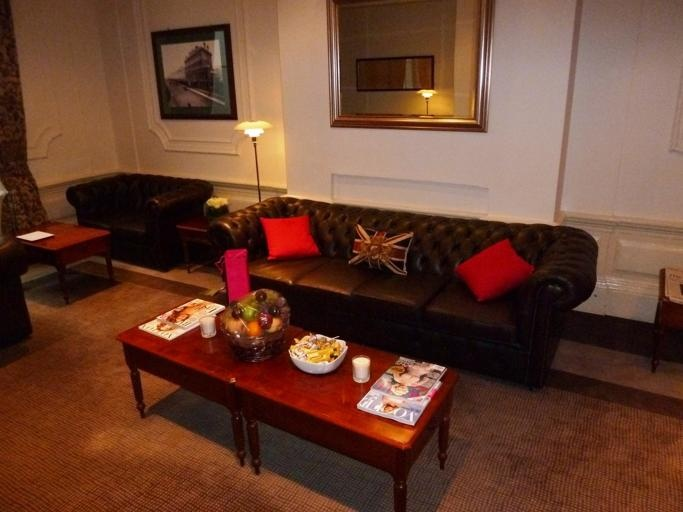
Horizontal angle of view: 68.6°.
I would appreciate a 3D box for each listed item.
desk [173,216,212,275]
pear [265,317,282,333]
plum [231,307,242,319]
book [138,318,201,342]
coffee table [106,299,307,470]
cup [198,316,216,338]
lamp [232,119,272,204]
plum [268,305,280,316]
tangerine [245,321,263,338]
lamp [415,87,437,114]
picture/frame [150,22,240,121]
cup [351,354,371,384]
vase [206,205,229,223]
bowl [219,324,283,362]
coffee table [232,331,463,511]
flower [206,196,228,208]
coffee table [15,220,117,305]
[{"bbox_3d":[-1.645,-0.127,5.448,0.475,0.471,0.415,-12,22,-33],"label":"desk"},{"bbox_3d":[-0.398,0.405,2.984,0.077,0.077,0.076,-35,32,-33],"label":"pear"},{"bbox_3d":[-0.619,0.334,2.947,0.044,0.043,0.076,16,7,-31],"label":"plum"},{"bbox_3d":[-1.183,0.482,3.318,0.190,0.028,0.177,12,18,30],"label":"book"},{"bbox_3d":[-0.806,0.498,3.307,1.157,0.772,0.898,13,27,31],"label":"coffee table"},{"bbox_3d":[-0.867,0.462,3.235,0.105,0.125,0.135,2,20,1],"label":"cup"},{"bbox_3d":[-0.932,-1.010,5.471,0.364,0.942,0.850,-6,20,-10],"label":"lamp"},{"bbox_3d":[-0.401,0.321,2.983,0.037,0.064,0.085,10,23,30],"label":"plum"},{"bbox_3d":[-0.512,0.425,2.924,0.079,0.095,0.081,6,30,-4],"label":"tangerine"},{"bbox_3d":[0.731,-1.328,4.303,0.190,0.291,0.177,9,19,34],"label":"lamp"},{"bbox_3d":[-1.648,-2.150,5.735,1.086,0.947,0.051,11,27,26],"label":"picture/frame"},{"bbox_3d":[0.111,0.642,2.879,0.123,0.148,0.126,-1,17,0],"label":"cup"},{"bbox_3d":[-1.262,-0.431,5.075,0.212,0.164,0.207,11,19,32],"label":"vase"},{"bbox_3d":[-0.549,0.555,3.135,0.424,0.223,0.442,-2,-12,0],"label":"bowl"},{"bbox_3d":[0.043,0.536,2.786,1.176,0.728,0.773,12,26,30],"label":"coffee table"},{"bbox_3d":[-1.326,-0.571,5.364,0.149,0.068,0.153,-1,18,-4],"label":"flower"},{"bbox_3d":[-2.762,-0.127,5.097,0.884,0.684,0.713,11,21,27],"label":"coffee table"}]
